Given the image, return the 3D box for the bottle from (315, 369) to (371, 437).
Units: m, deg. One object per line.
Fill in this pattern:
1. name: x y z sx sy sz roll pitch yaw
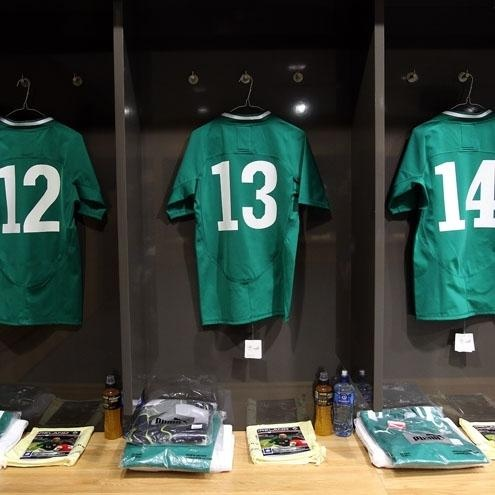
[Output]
1. bottle: 0.376 0.591 2.052 0.217 0.227 0.248 1 15 6

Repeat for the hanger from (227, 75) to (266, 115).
1. hanger: 0.000 -0.624 2.085 0.151 0.167 0.046 -1 15 -3

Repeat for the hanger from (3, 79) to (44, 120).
1. hanger: -0.914 -0.619 2.202 0.168 0.175 0.169 1 9 3
